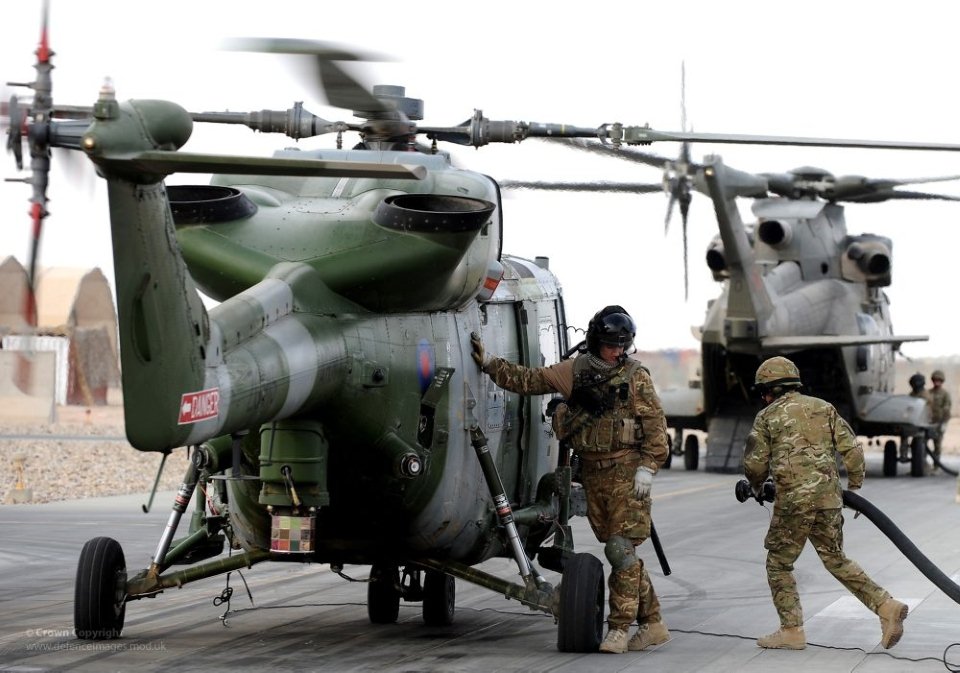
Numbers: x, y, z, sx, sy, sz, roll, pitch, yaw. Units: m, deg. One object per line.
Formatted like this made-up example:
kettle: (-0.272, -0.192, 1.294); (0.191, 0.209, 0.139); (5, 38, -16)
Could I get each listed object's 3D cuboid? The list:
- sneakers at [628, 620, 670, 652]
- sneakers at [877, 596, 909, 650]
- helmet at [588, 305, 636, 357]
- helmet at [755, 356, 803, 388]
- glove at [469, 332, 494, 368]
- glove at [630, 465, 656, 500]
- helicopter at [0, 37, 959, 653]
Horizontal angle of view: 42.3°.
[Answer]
sneakers: (1.487, 2.655, 10.943); (0.473, 0.208, 0.162); (-9, 3, -25)
sneakers: (3.512, 2.423, 10.601); (0.242, 0.492, 0.188); (21, 38, 36)
helmet: (1.094, -0.018, 10.368); (0.337, 0.369, 0.396); (1, -22, -4)
helmet: (2.710, 0.325, 11.385); (0.310, 0.264, 0.319); (1, 4, 0)
glove: (0.015, 0.116, 11.109); (0.204, 0.295, 0.087); (2, -23, -29)
glove: (1.415, 1.272, 10.804); (0.188, 0.271, 0.104); (2, 2, 4)
helicopter: (-0.525, 0.010, 11.137); (5.808, 3.078, 6.910); (2, 2, 25)
